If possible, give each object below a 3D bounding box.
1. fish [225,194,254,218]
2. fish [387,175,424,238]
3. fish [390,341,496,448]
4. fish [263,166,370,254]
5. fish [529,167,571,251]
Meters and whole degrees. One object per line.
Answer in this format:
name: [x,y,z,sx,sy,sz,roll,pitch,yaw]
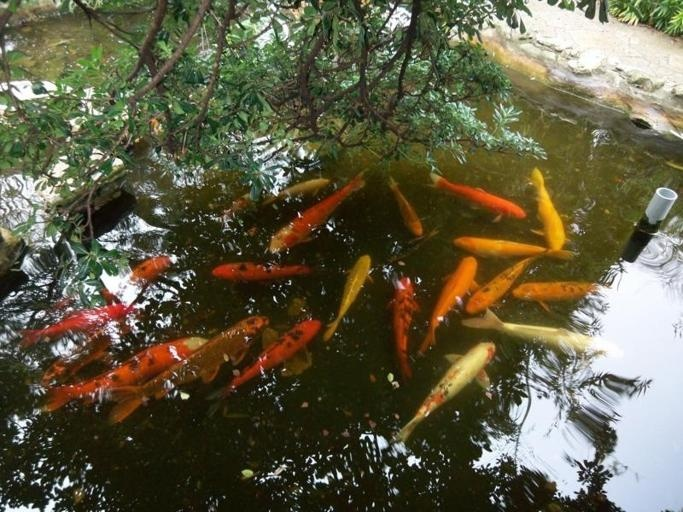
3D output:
fish: [-1.074,-0.518,6.472,0.252,0.107,0.108,-39,85,-20]
fish: [0.683,-0.468,6.662,0.312,0.193,0.832,-12,51,-13]
fish: [0.875,1.151,5.503,1.180,0.307,0.467,-43,69,-10]
fish: [-0.267,-0.440,6.433,0.215,0.283,1.061,36,69,19]
fish: [2.170,-0.496,6.554,0.238,0.306,0.953,20,45,-18]
